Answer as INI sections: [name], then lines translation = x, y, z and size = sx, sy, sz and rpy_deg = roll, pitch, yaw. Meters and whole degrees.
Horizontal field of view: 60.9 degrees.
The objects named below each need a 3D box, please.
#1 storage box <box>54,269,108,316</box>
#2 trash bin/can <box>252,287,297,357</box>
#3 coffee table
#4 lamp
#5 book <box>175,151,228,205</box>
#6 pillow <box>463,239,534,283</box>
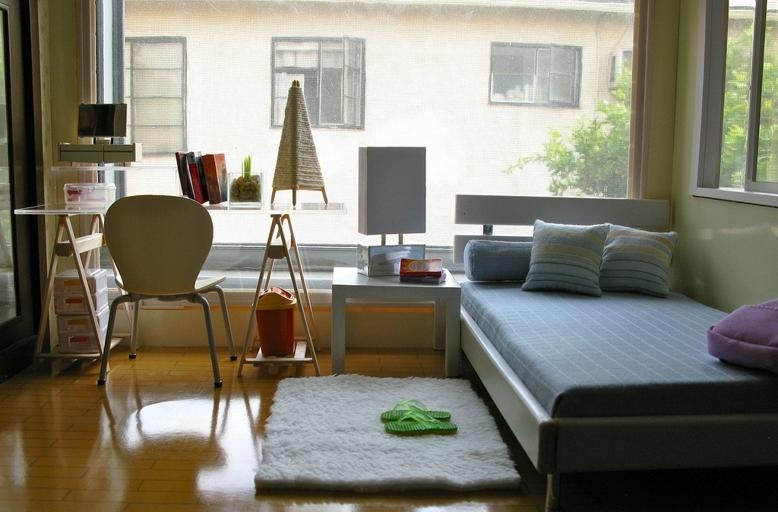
[storage box]
translation = -2.072, 0.240, 4.416
size = 0.307, 0.216, 0.298
rpy_deg = -1, 3, -21
[trash bin/can]
translation = -0.767, 0.455, 4.741
size = 0.388, 0.582, 0.413
rpy_deg = -1, 4, -6
[coffee table]
translation = 0.032, 0.405, 4.573
size = 0.801, 0.557, 0.737
rpy_deg = 0, 7, -3
[lamp]
translation = -0.006, -0.311, 4.597
size = 0.490, 0.809, 0.261
rpy_deg = -3, 9, -24
[book]
translation = -1.208, -0.571, 4.616
size = 0.345, 0.437, 0.455
rpy_deg = -4, 10, 6
[pillow]
translation = 0.745, 0.042, 4.567
size = 0.409, 0.253, 0.302
rpy_deg = 2, 6, 2
